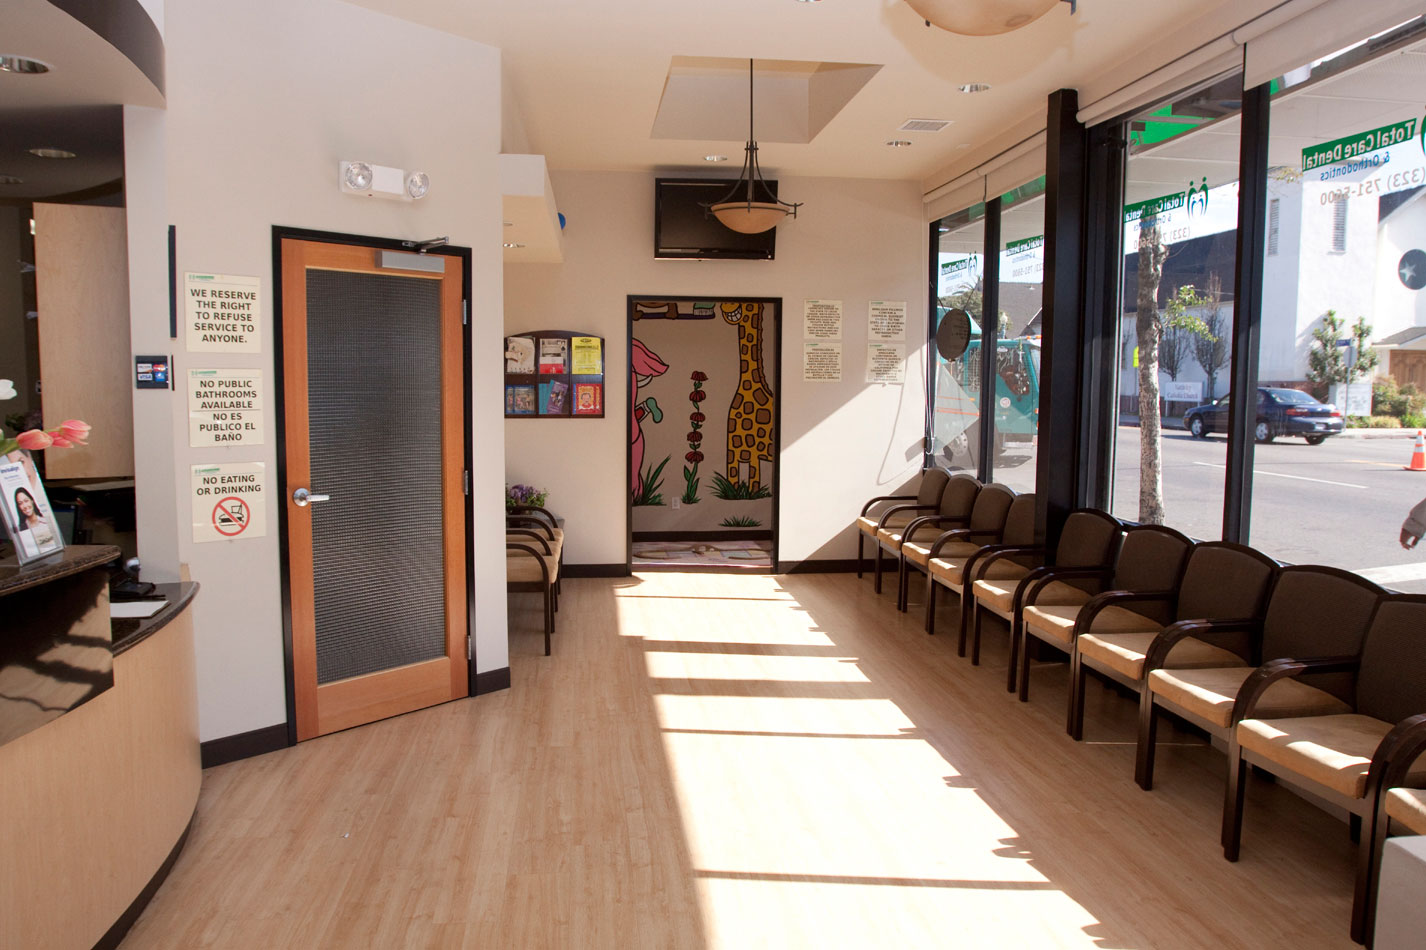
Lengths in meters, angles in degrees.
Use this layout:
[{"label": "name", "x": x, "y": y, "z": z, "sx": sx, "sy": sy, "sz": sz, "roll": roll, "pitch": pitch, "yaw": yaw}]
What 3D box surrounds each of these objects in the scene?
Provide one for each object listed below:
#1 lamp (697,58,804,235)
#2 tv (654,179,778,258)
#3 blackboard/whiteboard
[{"label": "lamp", "x": 0.306, "y": -2.671, "z": 7.374, "sx": 0.652, "sy": 1.429, "sz": 0.675, "roll": -2, "pitch": 6, "yaw": -29}, {"label": "tv", "x": -0.022, "y": -2.314, "z": 8.417, "sx": 0.848, "sy": 0.594, "sz": 0.083, "roll": 0, "pitch": 11, "yaw": -4}, {"label": "blackboard/whiteboard", "x": -3.565, "y": -1.013, "z": 5.282, "sx": 0.468, "sy": 1.368, "sz": 0.031, "roll": -2, "pitch": -10, "yaw": -31}]
